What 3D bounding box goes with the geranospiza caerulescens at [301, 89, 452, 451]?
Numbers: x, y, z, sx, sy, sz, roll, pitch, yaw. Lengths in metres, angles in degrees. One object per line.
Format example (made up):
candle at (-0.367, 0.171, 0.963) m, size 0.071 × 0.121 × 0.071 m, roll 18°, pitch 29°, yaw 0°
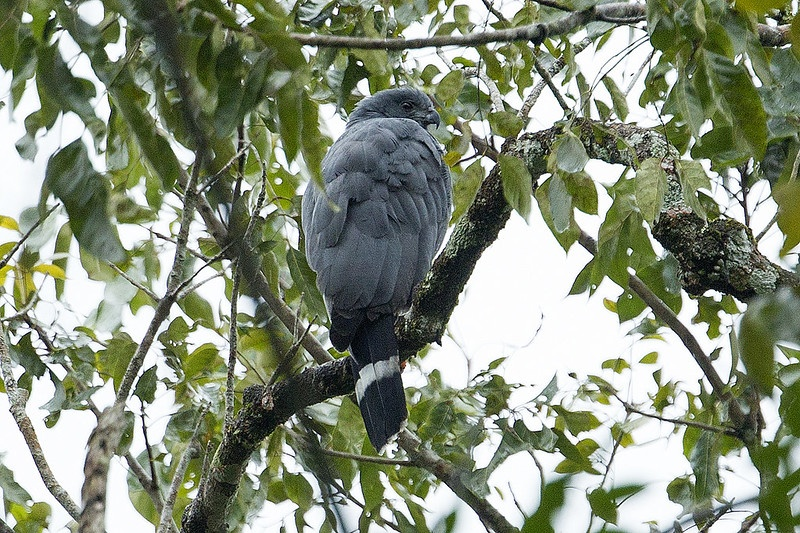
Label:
geranospiza caerulescens at (-0.133, -0.090, 7.077) m, size 0.829 × 2.316 × 0.417 m, roll 11°, pitch -45°, yaw -6°
